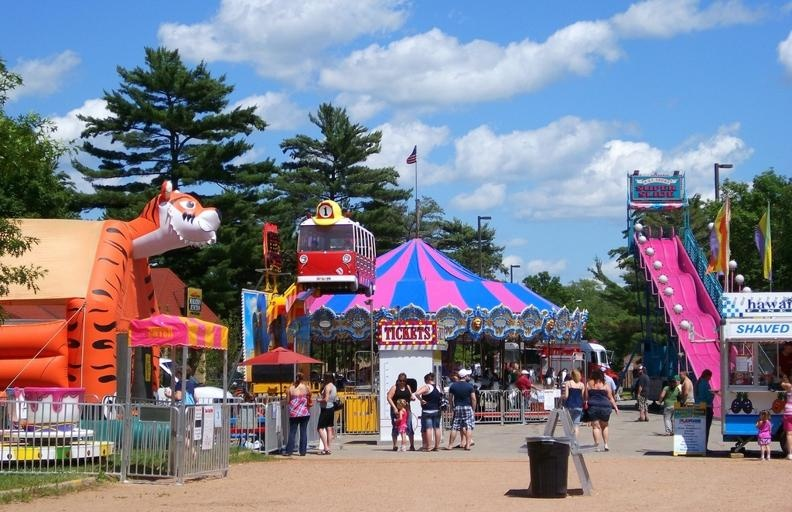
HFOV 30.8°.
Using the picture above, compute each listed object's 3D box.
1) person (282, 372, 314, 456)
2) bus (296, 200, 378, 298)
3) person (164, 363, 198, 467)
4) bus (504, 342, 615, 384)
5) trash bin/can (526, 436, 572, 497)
[{"bbox_3d":[-2.721,4.402,40.079,0.679,2.041,0.849,2,-5,-23],"label":"person"},{"bbox_3d":[-1.998,0.057,50.947,1.744,2.212,4.153,-1,-7,6],"label":"bus"},{"bbox_3d":[-5.104,3.940,35.986,0.918,2.685,1.144,2,-5,-23],"label":"person"},{"bbox_3d":[6.871,4.605,59.747,5.133,2.227,2.039,-1,-1,-2],"label":"bus"},{"bbox_3d":[3.650,4.988,34.391,1.053,1.403,0.938,-1,-1,5],"label":"trash bin/can"}]
